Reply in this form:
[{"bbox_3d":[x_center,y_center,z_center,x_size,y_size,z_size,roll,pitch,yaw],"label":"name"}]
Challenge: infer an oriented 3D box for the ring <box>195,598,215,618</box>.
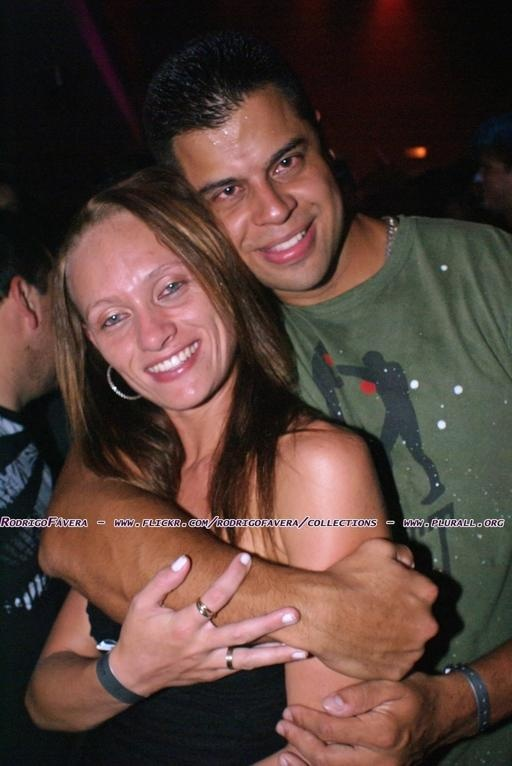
[{"bbox_3d":[-0.124,0.541,1.653,0.020,0.046,0.040,-36,2,-30],"label":"ring"}]
